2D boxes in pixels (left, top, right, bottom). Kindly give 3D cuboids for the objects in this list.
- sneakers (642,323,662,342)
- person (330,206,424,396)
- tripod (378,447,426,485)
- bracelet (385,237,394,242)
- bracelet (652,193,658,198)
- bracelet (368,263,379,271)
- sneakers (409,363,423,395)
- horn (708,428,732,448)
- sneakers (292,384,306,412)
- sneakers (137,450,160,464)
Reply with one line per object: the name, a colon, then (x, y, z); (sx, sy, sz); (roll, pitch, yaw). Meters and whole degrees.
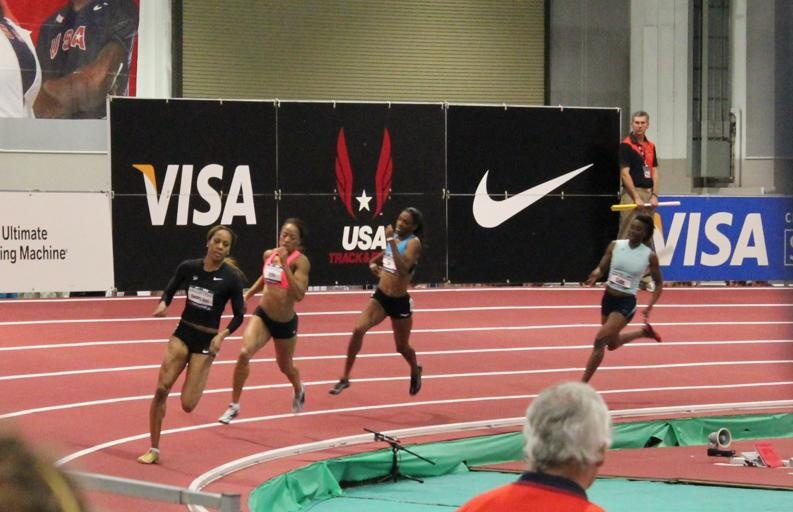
sneakers: (4.877, 1.484, 20.369); (0.197, 0.188, 0.518); (-21, -50, 20)
person: (-0.204, 0.838, 19.087); (1.354, 3.413, 1.143); (2, 4, 3)
tripod: (0.083, 3.378, 17.503); (0.642, 0.578, 0.518); (-5, 6, -40)
bracelet: (-0.113, -0.301, 18.651); (0.121, 0.098, 0.166); (2, 5, -5)
bracelet: (5.160, -1.198, 21.293); (0.113, 0.071, 0.701); (3, 5, 12)
bracelet: (-0.426, 0.194, 19.643); (0.155, 0.092, 0.094); (4, -35, 14)
sneakers: (0.304, 2.220, 19.162); (0.196, 0.580, 0.242); (3, -4, 29)
horn: (5.478, 3.081, 18.080); (0.314, 0.337, 0.426); (-2, 4, -16)
sneakers: (-1.698, 2.475, 18.463); (0.170, 0.534, 0.207); (4, 6, 3)
sneakers: (-4.009, 3.244, 17.238); (0.324, 0.228, 0.181); (5, -4, -2)
